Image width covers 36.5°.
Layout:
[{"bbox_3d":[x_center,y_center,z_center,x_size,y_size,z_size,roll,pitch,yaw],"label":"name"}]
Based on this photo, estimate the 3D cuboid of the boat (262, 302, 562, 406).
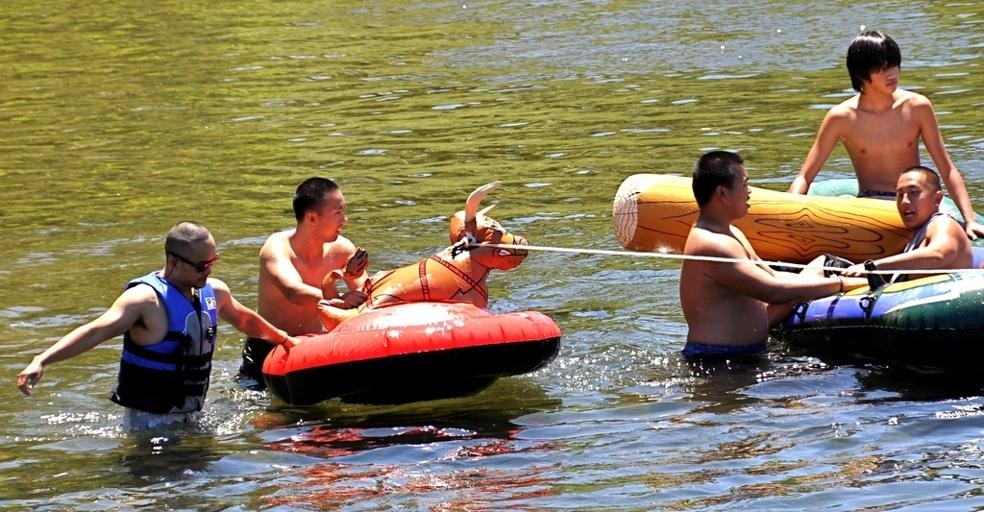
[{"bbox_3d":[-0.887,1.149,17.108,3.193,1.125,0.524,-2,24,-2],"label":"boat"}]
